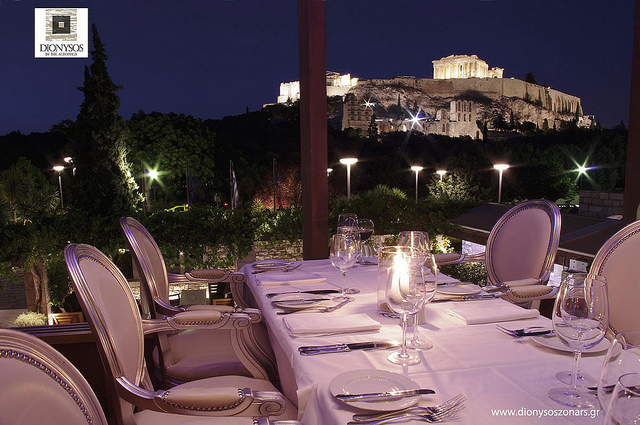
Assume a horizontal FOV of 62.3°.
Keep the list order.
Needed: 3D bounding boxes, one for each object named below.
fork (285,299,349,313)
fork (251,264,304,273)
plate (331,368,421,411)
[{"bbox_3d":[-0.047,0.828,4.721,0.376,0.078,0.043,5,25,-18],"label":"fork"},{"bbox_3d":[-0.448,0.573,5.422,0.377,0.049,0.060,1,45,-23],"label":"fork"},{"bbox_3d":[0.410,1.340,4.108,0.339,0.049,0.397,-2,16,-10],"label":"plate"}]
